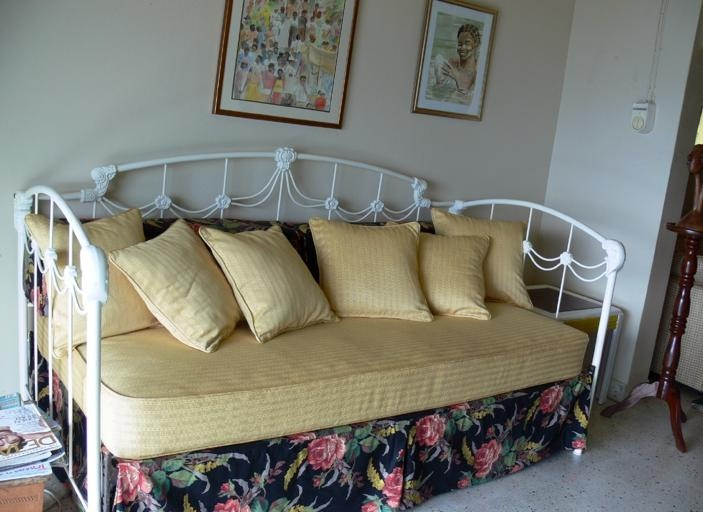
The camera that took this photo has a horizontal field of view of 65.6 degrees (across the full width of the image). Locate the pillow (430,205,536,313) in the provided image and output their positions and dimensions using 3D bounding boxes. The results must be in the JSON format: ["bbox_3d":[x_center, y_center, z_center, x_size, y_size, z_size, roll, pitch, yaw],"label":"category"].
[{"bbox_3d":[0.787,0.030,3.241,0.553,0.585,0.180,4,-16,-31],"label":"pillow"}]

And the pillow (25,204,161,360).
[{"bbox_3d":[-1.012,0.118,2.125,0.265,0.520,0.513,17,19,41],"label":"pillow"}]

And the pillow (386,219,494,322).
[{"bbox_3d":[0.528,0.166,2.960,0.505,0.540,0.168,7,-23,-23],"label":"pillow"}]
